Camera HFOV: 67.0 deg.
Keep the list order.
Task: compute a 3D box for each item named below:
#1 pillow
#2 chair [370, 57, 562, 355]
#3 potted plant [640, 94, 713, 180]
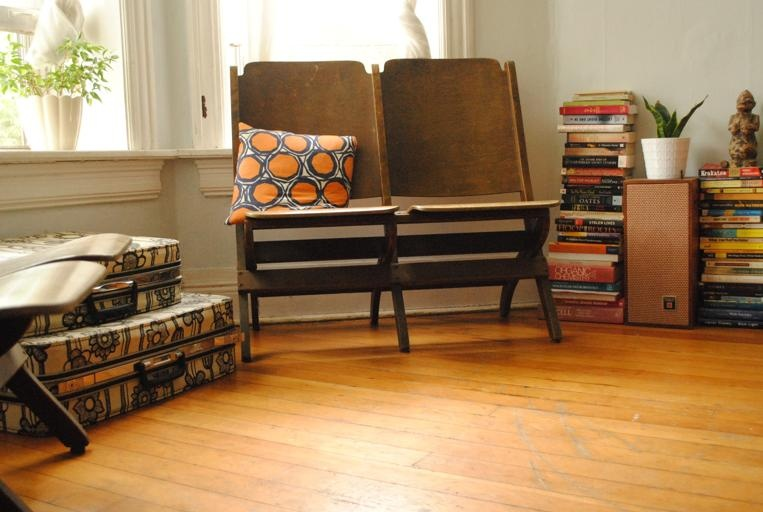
[{"bbox_3d":[-0.364,-0.335,2.378,0.503,0.211,0.373,0,50,-8],"label":"pillow"},{"bbox_3d":[0.347,-0.252,2.734,0.948,1.114,0.959,4,-17,-31],"label":"chair"},{"bbox_3d":[1.332,-0.541,2.623,0.302,0.348,0.246,-3,9,-3],"label":"potted plant"}]
